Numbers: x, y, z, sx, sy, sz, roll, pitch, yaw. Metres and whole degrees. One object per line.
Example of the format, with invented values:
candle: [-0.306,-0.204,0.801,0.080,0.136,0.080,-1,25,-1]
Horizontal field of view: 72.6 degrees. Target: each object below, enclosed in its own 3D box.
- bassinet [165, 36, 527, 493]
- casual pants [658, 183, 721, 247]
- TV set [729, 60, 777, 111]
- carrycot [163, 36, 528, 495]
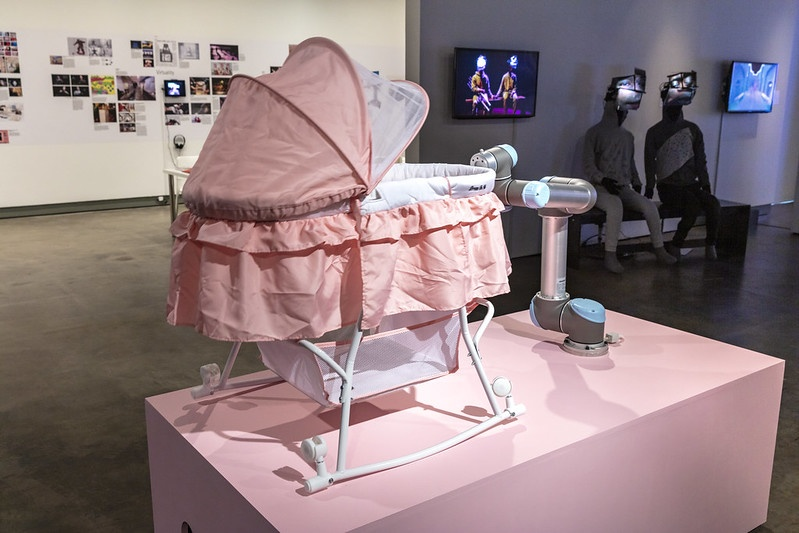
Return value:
bassinet: [-0.224,-0.088,2.092,1.187,1.358,1.051,-6,11,-31]
casual pants: [3.180,-0.635,6.120,0.447,0.715,0.712,-4,14,-18]
TV set: [4.716,-2.408,7.283,1.031,0.643,0.027,-8,14,-27]
carrycot: [-0.201,-0.092,2.084,1.198,1.359,0.963,-10,14,-41]
